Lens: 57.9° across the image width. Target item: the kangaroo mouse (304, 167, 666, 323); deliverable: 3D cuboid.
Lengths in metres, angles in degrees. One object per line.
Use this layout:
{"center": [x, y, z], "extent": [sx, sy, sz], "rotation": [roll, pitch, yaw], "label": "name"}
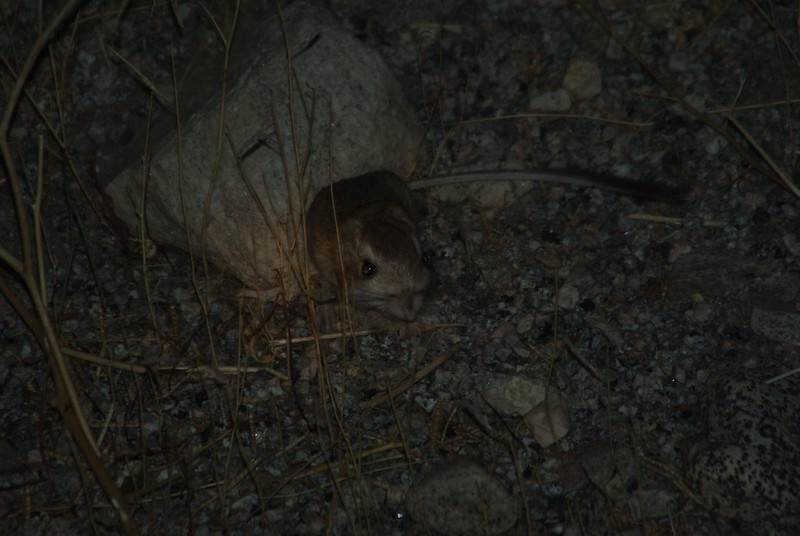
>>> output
{"center": [0.365, -0.409, 6.059], "extent": [2.384, 0.585, 1.163], "rotation": [-23, 79, -4], "label": "kangaroo mouse"}
